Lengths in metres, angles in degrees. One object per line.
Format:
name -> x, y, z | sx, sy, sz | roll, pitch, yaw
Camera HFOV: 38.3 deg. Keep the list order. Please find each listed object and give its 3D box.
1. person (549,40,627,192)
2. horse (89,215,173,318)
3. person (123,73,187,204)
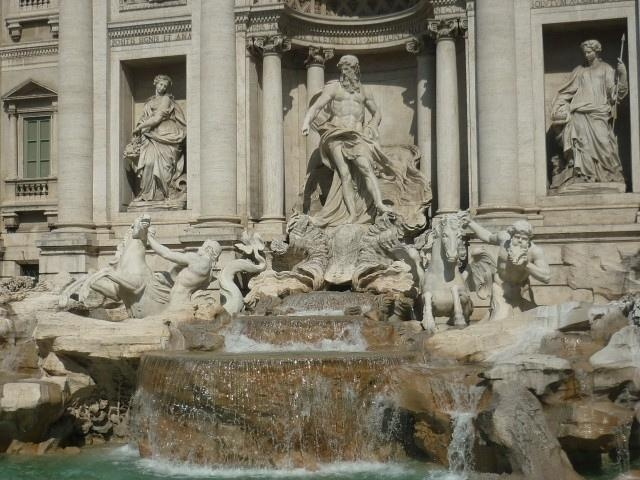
person -> 5.736, -2.632, 19.767 | 1.628, 3.189, 0.490 | -3, -4, 16
horse -> -3.696, 0.549, 18.325 | 2.256, 1.997, 0.762 | 3, -10, -41
person -> -3.971, -2.372, 22.172 | 1.494, 3.052, 0.644 | -3, -4, 18
